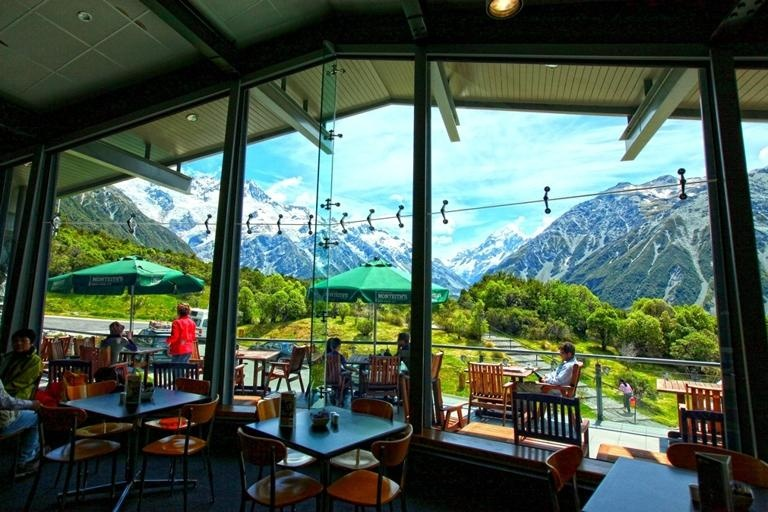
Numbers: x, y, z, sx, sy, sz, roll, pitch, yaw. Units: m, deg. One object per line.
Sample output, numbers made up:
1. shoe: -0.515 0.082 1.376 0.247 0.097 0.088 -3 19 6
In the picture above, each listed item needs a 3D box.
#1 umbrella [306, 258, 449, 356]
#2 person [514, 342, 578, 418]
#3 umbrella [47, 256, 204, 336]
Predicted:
1. umbrella: -0.254 0.556 6.931 1.462 0.918 1.388 0 -1 11
2. person: 2.353 1.592 6.992 0.936 1.046 0.629 -1 -28 23
3. umbrella: -4.442 0.700 8.810 1.380 0.819 1.332 2 -7 0
